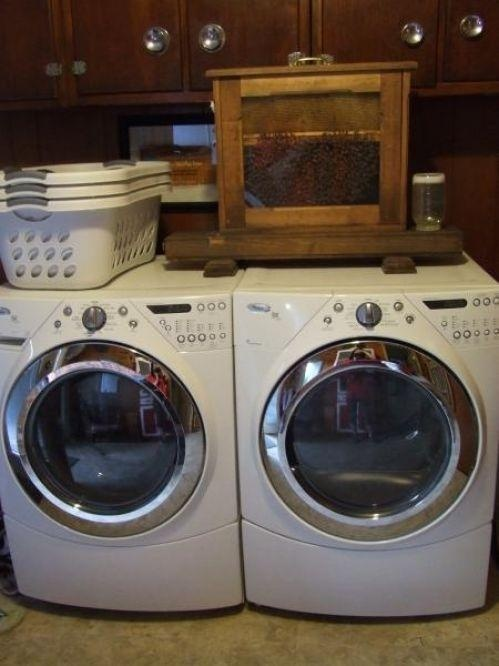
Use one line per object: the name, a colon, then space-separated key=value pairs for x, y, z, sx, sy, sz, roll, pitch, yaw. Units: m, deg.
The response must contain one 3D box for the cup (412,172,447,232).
cup: x=0.482 y=-0.354 z=1.543 sx=0.130 sy=0.144 sz=0.130 roll=-3 pitch=15 yaw=1
